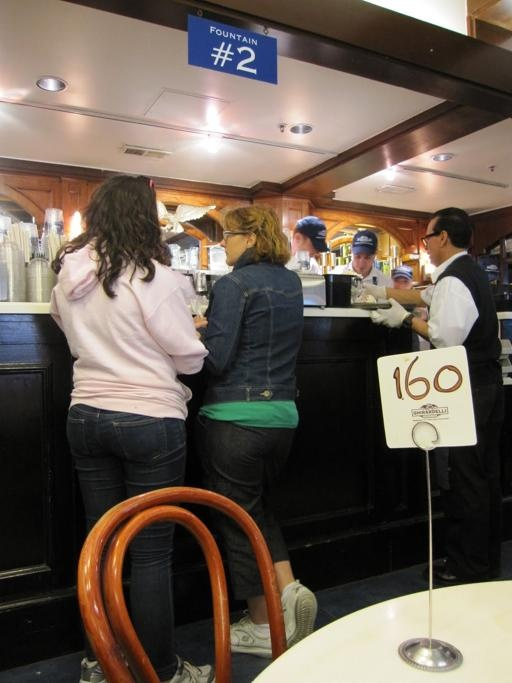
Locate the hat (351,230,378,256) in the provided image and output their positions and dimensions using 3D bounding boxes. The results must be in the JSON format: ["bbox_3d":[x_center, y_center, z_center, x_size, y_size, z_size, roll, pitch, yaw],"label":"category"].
[{"bbox_3d":[0.978,-0.894,4.838,0.181,0.138,0.255,8,16,5],"label":"hat"}]

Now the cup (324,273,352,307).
[{"bbox_3d":[0.373,-0.212,2.422,0.134,0.168,0.182,0,2,35],"label":"cup"}]
